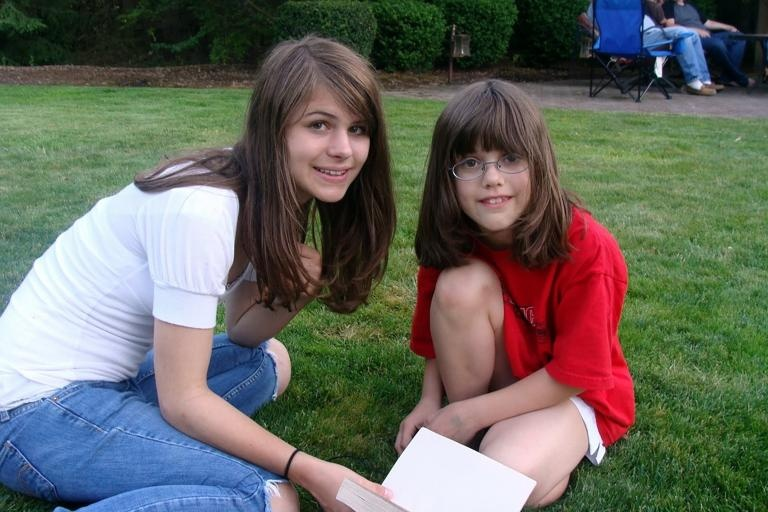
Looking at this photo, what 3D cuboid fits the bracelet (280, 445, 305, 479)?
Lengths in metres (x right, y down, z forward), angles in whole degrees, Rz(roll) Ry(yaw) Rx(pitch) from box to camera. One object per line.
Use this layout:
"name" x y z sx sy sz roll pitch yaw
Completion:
"bracelet" -0.315 0.735 2.237 0.022 0.089 0.092 15 -22 6

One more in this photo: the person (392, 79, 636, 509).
"person" 0.578 0.115 2.564 0.829 1.586 0.725 -4 17 -17
